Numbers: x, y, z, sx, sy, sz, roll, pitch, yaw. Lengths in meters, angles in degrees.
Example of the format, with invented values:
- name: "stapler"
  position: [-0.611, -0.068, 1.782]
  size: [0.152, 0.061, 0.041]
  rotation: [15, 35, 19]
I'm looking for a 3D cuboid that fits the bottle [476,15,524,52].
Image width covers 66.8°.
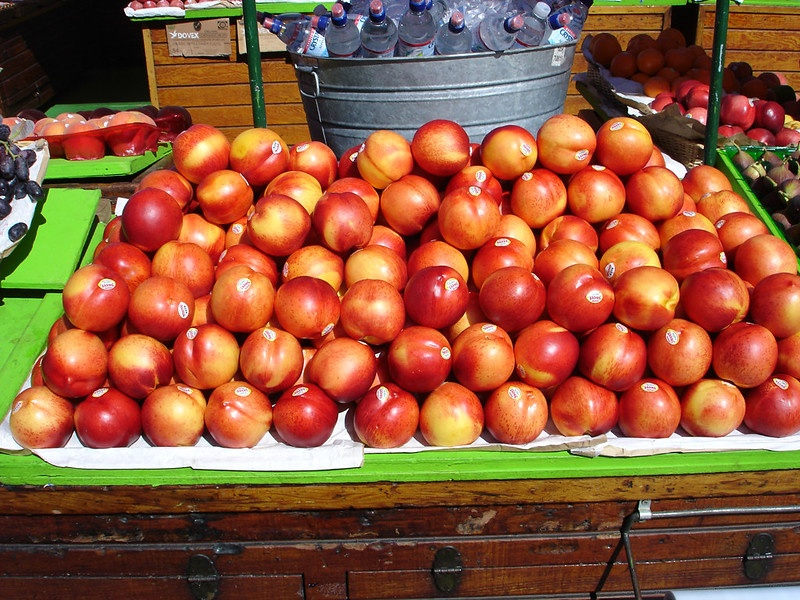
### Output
- name: "bottle"
  position: [0.439, -1.174, 2.680]
  size: [0.082, 0.085, 0.214]
  rotation: [-20, 13, -1]

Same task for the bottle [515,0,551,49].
- name: "bottle"
  position: [0.601, -1.234, 2.741]
  size: [0.098, 0.329, 0.093]
  rotation: [0, 77, -1]
